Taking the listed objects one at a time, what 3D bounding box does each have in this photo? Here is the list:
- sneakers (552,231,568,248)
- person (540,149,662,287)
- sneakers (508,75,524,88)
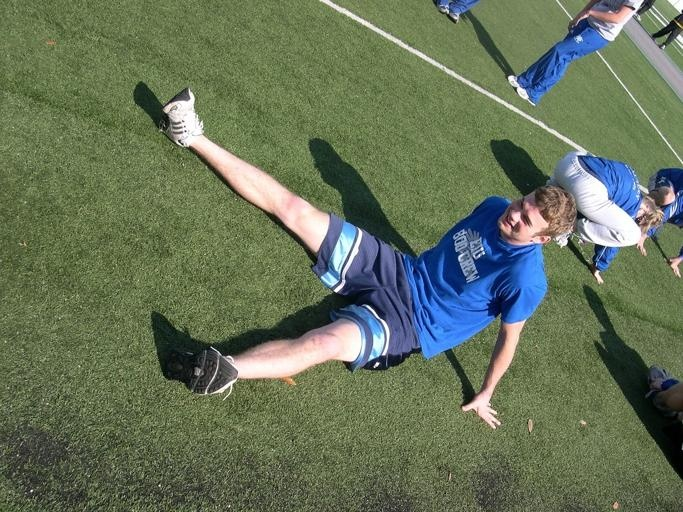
[{"bbox_3d":[2.430,-0.195,7.226,0.060,0.100,0.147,30,3,-5],"label":"sneakers"},{"bbox_3d":[3.267,-0.141,8.035,1.053,0.659,0.919,55,11,5],"label":"person"},{"bbox_3d":[2.543,-2.590,9.579,0.138,0.081,0.211,-16,67,-10],"label":"sneakers"}]
